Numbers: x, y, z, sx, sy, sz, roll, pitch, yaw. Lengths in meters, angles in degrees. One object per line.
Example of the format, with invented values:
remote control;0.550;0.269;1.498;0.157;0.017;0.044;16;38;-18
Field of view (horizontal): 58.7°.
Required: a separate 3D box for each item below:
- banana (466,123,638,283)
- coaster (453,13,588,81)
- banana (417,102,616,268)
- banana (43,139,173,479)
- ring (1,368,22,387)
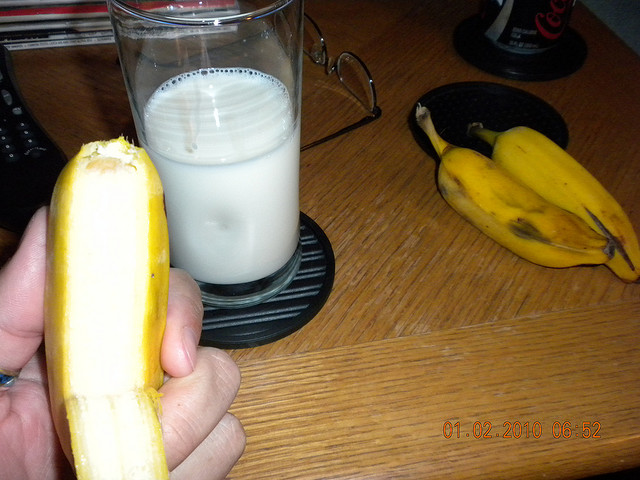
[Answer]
banana;0.239;-0.071;0.658;0.072;0.070;0.266;-45;70;-2
coaster;0.298;-0.288;0.823;0.127;0.096;0.179;-13;30;-27
banana;0.184;-0.050;0.603;0.259;0.051;0.064;40;63;19
banana;-0.150;0.044;0.431;0.076;0.082;0.239;-1;86;-4
ring;-0.288;0.127;0.525;0.019;0.017;0.018;11;19;-4
